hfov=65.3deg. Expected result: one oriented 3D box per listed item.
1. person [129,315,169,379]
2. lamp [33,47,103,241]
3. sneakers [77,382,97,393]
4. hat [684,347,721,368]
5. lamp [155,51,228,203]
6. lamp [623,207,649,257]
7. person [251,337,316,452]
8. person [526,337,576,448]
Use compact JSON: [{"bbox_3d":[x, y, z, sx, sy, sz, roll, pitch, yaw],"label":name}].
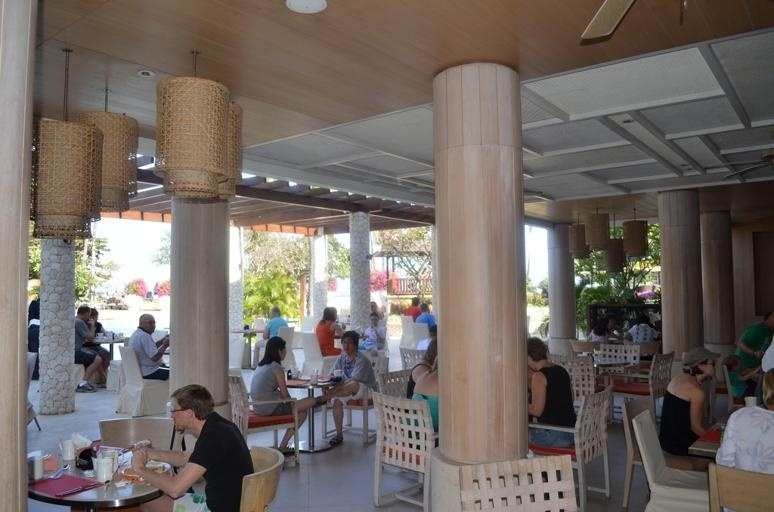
[{"bbox_3d":[-3.648,1.482,9.347,0.699,1.108,0.633,-2,-4,-26],"label":"person"},{"bbox_3d":[-2.326,-0.625,4.399,0.426,1.050,0.632,1,-5,-25],"label":"lamp"},{"bbox_3d":[-5.350,2.315,10.668,0.359,0.145,0.150,3,-2,2],"label":"sneakers"},{"bbox_3d":[2.936,0.960,5.537,0.326,0.148,0.230,-10,-1,-2],"label":"hat"},{"bbox_3d":[-1.401,-0.859,4.338,0.500,0.844,0.345,0,-4,-16],"label":"lamp"},{"bbox_3d":[4.583,-0.327,11.115,0.405,0.692,0.353,-2,-5,18],"label":"lamp"},{"bbox_3d":[-1.239,1.648,7.199,0.785,1.360,0.611,0,-4,-14],"label":"person"},{"bbox_3d":[1.601,1.323,5.900,0.431,1.001,0.601,-2,-4,15],"label":"person"}]
